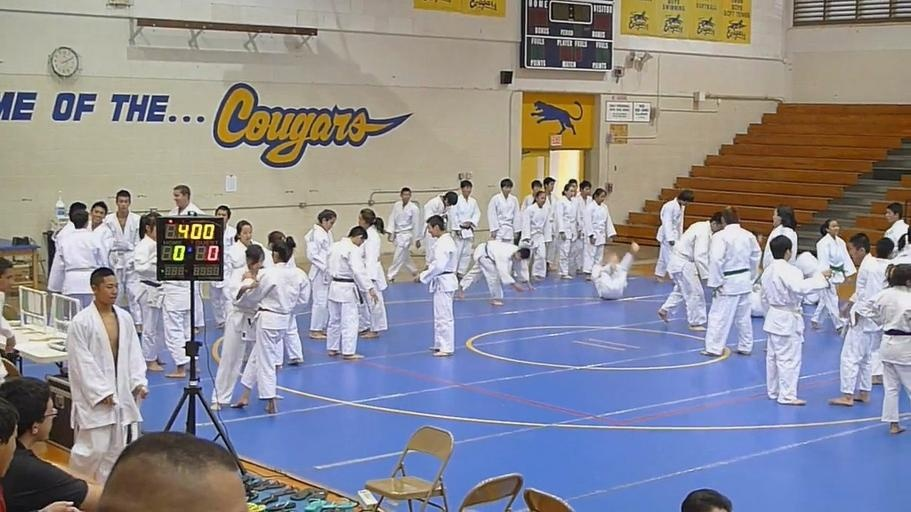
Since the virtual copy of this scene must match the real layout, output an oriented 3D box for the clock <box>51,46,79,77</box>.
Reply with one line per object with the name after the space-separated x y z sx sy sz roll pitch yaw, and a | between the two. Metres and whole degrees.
-9.490 -4.726 20.608 0.773 0.937 0.187 -2 6 -38 | clock
